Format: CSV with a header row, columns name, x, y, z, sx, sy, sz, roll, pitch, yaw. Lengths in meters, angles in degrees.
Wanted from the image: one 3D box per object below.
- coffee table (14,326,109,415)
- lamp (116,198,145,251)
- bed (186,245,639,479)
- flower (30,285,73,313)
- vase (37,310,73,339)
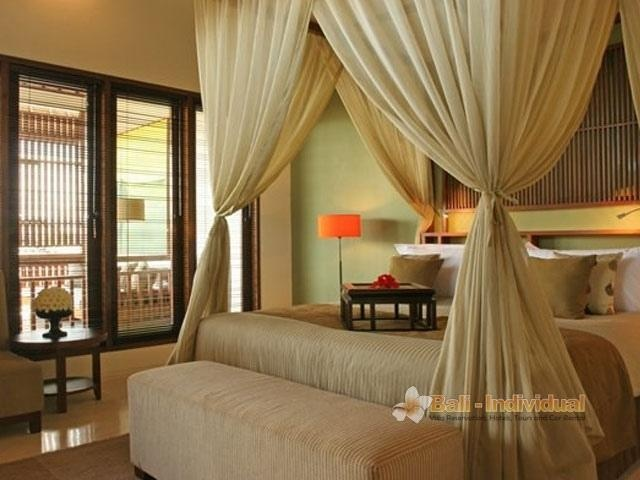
name,x,y,z,sx,sy,sz,roll,pitch,yaw
coffee table,-2.121,1.081,4.045,0.642,0.523,0.652,-2,-3,37
lamp,-1.866,-0.219,4.989,0.304,0.548,0.319,1,-3,-21
bed,0.702,0.656,2.851,1.591,0.702,1.620,4,-7,-32
flower,-2.235,0.474,4.117,0.215,0.160,0.219,3,-4,-29
vase,-2.174,0.667,4.023,0.224,0.207,0.216,-1,-2,1
